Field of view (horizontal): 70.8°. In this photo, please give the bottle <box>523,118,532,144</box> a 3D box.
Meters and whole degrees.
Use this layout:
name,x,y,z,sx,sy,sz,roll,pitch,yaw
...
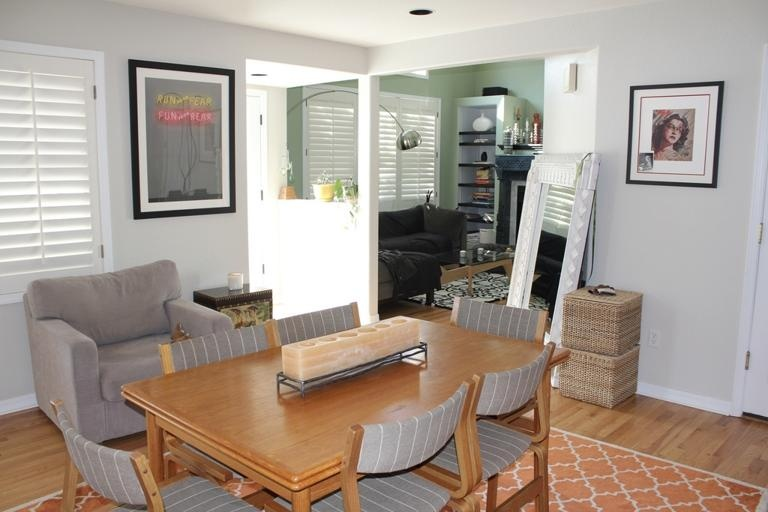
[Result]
name,x,y,z,sx,sy,sz,roll,pitch,yaw
bottle,2.359,-2.068,8.874,0.125,0.410,0.530,4,13,12

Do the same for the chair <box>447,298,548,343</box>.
name,x,y,z,sx,sy,sz,roll,pitch,yaw
chair,0.794,0.310,3.491,0.555,0.368,0.275,7,5,33

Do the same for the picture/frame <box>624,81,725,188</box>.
name,x,y,z,sx,sy,sz,roll,pitch,yaw
picture/frame,2.324,-0.976,4.263,0.900,1.037,0.044,5,6,40

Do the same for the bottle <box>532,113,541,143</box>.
name,x,y,z,sx,sy,sz,roll,pitch,yaw
bottle,2.360,-1.958,8.293,0.139,0.430,0.663,4,13,14

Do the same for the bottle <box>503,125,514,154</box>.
name,x,y,z,sx,sy,sz,roll,pitch,yaw
bottle,1.983,-1.865,8.654,0.155,0.380,0.372,3,13,11

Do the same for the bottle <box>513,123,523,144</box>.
name,x,y,z,sx,sy,sz,roll,pitch,yaw
bottle,2.200,-2.032,8.867,0.195,0.343,0.408,4,13,13

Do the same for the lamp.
name,x,y,z,sx,sy,sz,roll,pitch,yaw
lamp,-0.479,-1.702,7.081,1.859,0.904,0.358,-5,16,21

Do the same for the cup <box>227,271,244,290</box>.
name,x,y,z,sx,sy,sz,roll,pitch,yaw
cup,-1.321,0.217,4.932,0.162,0.149,0.140,-7,15,-40

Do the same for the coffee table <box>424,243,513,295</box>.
name,x,y,z,sx,sy,sz,roll,pitch,yaw
coffee table,1.239,0.090,6.830,0.658,0.306,0.888,13,21,41

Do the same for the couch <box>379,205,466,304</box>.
name,x,y,z,sx,sy,sz,roll,pitch,yaw
couch,0.516,0.003,7.118,0.618,0.527,1.278,6,13,31
